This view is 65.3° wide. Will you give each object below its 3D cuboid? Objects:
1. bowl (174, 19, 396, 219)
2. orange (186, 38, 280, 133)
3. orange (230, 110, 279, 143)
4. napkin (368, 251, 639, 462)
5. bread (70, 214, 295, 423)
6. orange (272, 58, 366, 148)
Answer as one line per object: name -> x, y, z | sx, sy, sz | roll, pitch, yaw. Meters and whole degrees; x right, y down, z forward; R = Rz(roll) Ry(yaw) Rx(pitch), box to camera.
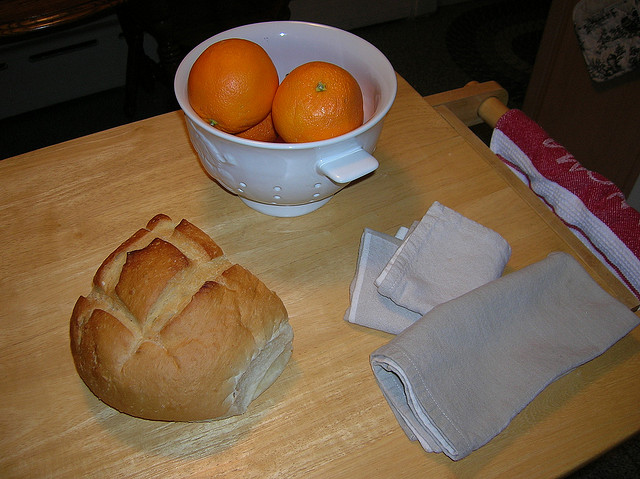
bowl -> -0.032, -0.103, 0.624 | 0.207, 0.144, 0.190 | 1, 78, -5
orange -> -0.111, -0.191, 0.644 | 0.109, 0.115, 0.133 | 4, 67, -23
orange -> -0.087, -0.149, 0.650 | 0.041, 0.052, 0.042 | -3, 10, 10
napkin -> 0.233, 0.150, 0.661 | 0.322, 0.088, 0.179 | -25, 68, -21
bread -> -0.169, 0.105, 0.581 | 0.236, 0.107, 0.209 | 32, 60, 20
orange -> -0.006, -0.177, 0.646 | 0.120, 0.127, 0.125 | -11, 21, -8
